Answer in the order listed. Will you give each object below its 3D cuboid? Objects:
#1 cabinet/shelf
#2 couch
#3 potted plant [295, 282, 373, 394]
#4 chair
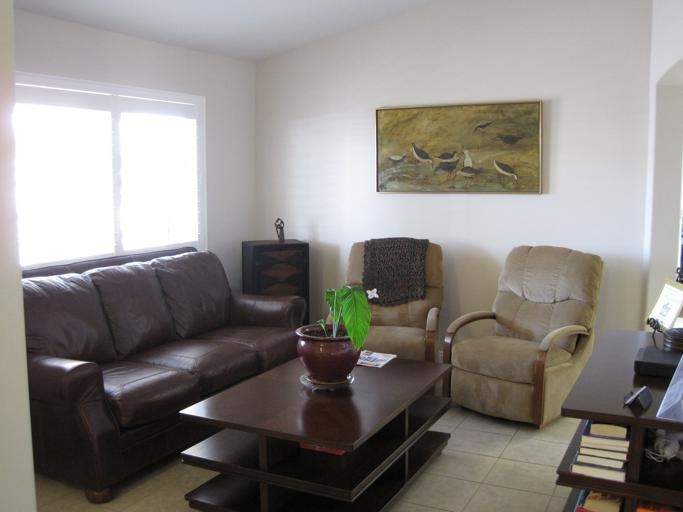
[{"bbox_3d":[-0.644,0.315,5.561,0.592,1.010,0.512,-6,17,-21],"label":"cabinet/shelf"},{"bbox_3d":[-1.323,0.700,4.065,1.233,1.215,2.349,2,6,23],"label":"couch"},{"bbox_3d":[-0.036,0.497,3.043,0.386,0.620,0.633,1,0,-14],"label":"potted plant"},{"bbox_3d":[1.160,0.517,4.260,1.151,1.358,1.929,5,8,38],"label":"chair"}]
